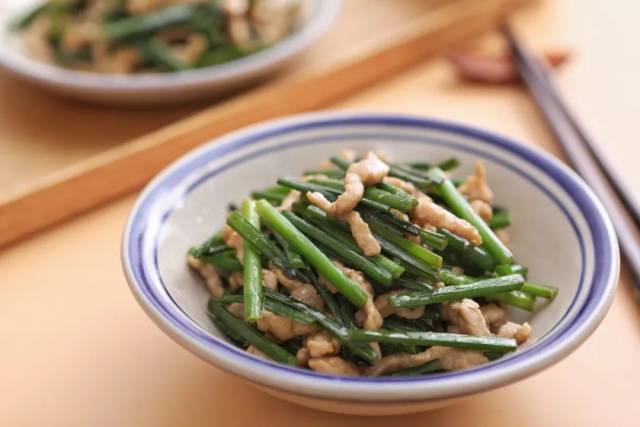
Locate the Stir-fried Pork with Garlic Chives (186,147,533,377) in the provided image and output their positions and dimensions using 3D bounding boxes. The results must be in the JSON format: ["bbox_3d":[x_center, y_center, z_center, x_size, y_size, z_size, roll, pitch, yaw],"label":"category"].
[{"bbox_3d":[0.171,0.186,2.196,1.316,0.409,0.873,-3,55,5],"label":"Stir-fried Pork with Garlic Chives"}]
